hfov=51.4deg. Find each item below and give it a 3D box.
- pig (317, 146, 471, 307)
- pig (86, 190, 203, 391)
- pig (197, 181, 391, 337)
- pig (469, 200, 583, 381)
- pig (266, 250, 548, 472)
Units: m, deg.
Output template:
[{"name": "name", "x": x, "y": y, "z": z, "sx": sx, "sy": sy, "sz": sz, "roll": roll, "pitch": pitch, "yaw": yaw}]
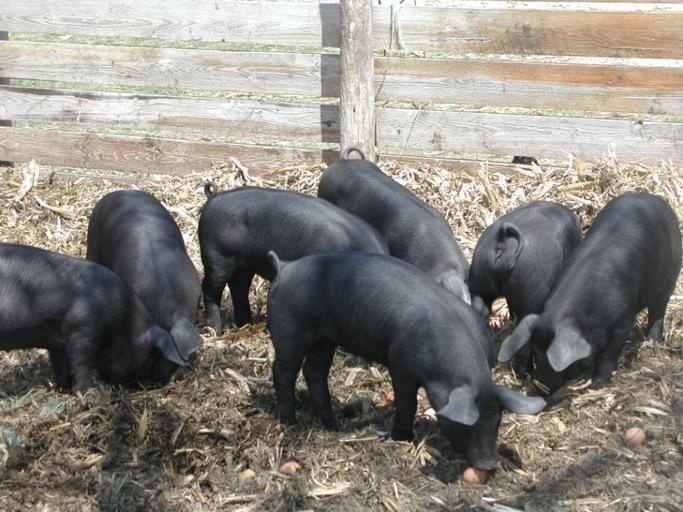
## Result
[{"name": "pig", "x": 0.360, "y": -0.182, "z": 4.664, "sx": 1.223, "sy": 0.671, "sz": 0.371, "roll": 42, "pitch": 65, "yaw": 9}, {"name": "pig", "x": -1.213, "y": 0.242, "z": 4.383, "sx": 0.431, "sy": 0.672, "sz": 1.259, "roll": -16, "pitch": 65, "yaw": -44}, {"name": "pig", "x": -0.152, "y": -0.003, "z": 4.806, "sx": 1.144, "sy": 1.064, "sz": 1.166, "roll": -5, "pitch": 22, "yaw": -29}, {"name": "pig", "x": 1.173, "y": 0.205, "z": 4.722, "sx": 0.825, "sy": 1.025, "sz": 0.824, "roll": 10, "pitch": 19, "yaw": 32}, {"name": "pig", "x": 0.263, "y": 0.551, "z": 3.753, "sx": 1.498, "sy": 0.928, "sz": 0.570, "roll": 19, "pitch": 30, "yaw": 25}]
